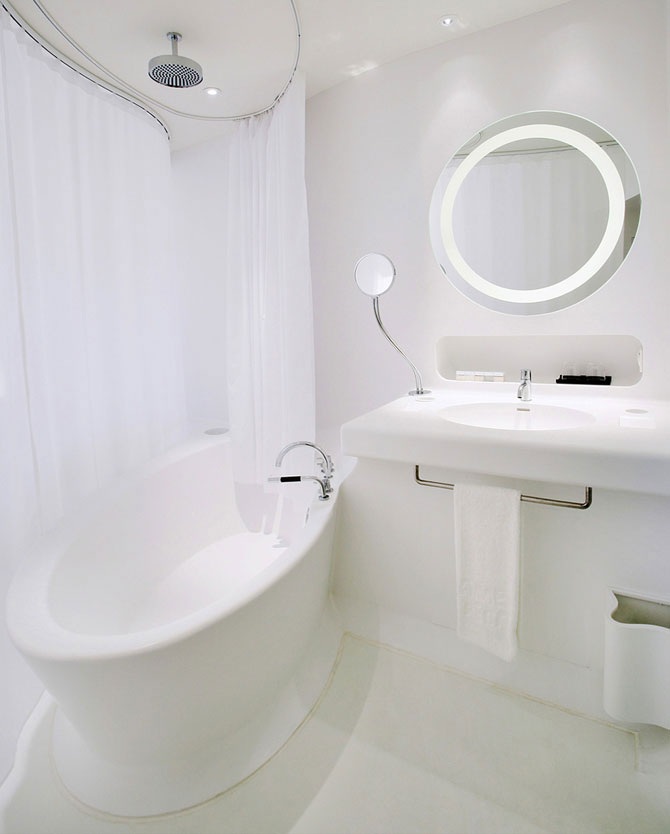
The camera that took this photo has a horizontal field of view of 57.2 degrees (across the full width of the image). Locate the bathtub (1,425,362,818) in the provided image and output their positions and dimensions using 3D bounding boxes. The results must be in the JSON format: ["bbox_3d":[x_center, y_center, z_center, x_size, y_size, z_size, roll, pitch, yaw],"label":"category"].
[{"bbox_3d":[-0.344,0.502,1.681,0.523,0.401,0.893,3,24,16],"label":"bathtub"}]

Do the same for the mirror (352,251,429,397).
[{"bbox_3d":[0.207,-0.323,2.182,0.224,0.514,0.511,-1,11,8],"label":"mirror"}]
